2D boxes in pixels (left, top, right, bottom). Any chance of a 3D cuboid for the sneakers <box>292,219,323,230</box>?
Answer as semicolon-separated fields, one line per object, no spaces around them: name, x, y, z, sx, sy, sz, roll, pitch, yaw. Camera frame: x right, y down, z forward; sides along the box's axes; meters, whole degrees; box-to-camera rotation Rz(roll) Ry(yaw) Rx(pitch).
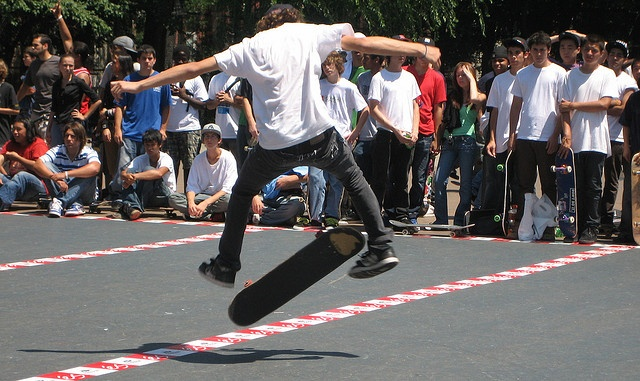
sneakers;-0.136;0.549;12.895;0.545;0.181;0.164;7;1;-7

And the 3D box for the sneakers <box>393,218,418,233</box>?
sneakers;1.314;0.551;12.600;0.519;0.141;0.189;10;22;-1

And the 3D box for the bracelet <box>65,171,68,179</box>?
bracelet;-4.187;-0.241;13.534;0.064;0.126;0.061;2;3;-17

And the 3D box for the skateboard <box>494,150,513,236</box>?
skateboard;2.786;0.034;12.441;0.329;1.214;0.213;2;11;27

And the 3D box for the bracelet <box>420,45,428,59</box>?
bracelet;1.128;-1.476;8.745;0.055;0.136;0.057;3;3;-6

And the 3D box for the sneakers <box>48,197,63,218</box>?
sneakers;-4.291;0.284;13.281;0.223;0.299;0.267;2;3;-14

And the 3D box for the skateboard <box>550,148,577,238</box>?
skateboard;3.674;0.046;12.056;0.371;1.252;0.226;-5;3;40

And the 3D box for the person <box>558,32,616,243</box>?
person;3.921;-0.746;12.050;0.806;3.045;0.447;4;3;14

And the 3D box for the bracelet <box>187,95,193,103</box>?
bracelet;-2.216;-1.578;14.013;0.115;0.113;0.040;3;1;8

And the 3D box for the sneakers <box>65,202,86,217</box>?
sneakers;-4.027;0.309;13.459;0.326;0.225;0.204;1;4;-26

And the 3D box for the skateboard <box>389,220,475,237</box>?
skateboard;1.905;0.568;12.536;1.819;0.249;0.382;1;1;11

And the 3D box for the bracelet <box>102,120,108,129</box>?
bracelet;-3.720;-1.130;14.247;0.135;0.107;0.112;-12;-12;24

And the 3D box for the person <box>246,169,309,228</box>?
person;-0.629;0.152;11.935;0.791;0.896;0.579;17;-6;29

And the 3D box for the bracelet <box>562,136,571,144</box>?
bracelet;3.614;-0.728;11.948;0.122;0.106;0.064;7;7;12
